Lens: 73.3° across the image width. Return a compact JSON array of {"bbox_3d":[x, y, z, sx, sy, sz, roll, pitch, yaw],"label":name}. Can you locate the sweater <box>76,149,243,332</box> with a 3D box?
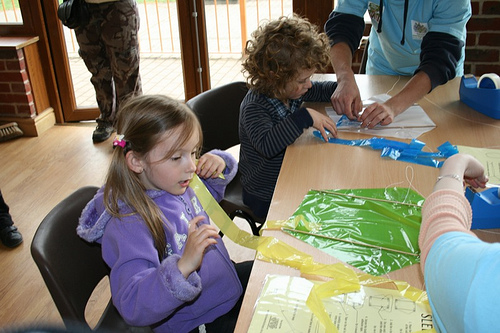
[{"bbox_3d":[-0.243,0.307,1.135,0.545,0.513,0.468,-13,23,-30],"label":"sweater"}]

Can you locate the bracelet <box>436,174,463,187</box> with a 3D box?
[{"bbox_3d":[0.509,0.030,0.861,0.057,0.023,0.046,12,24,31],"label":"bracelet"}]

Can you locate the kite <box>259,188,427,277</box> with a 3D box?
[{"bbox_3d":[0.314,0.165,1.092,0.441,0.118,0.366,10,23,28],"label":"kite"}]
